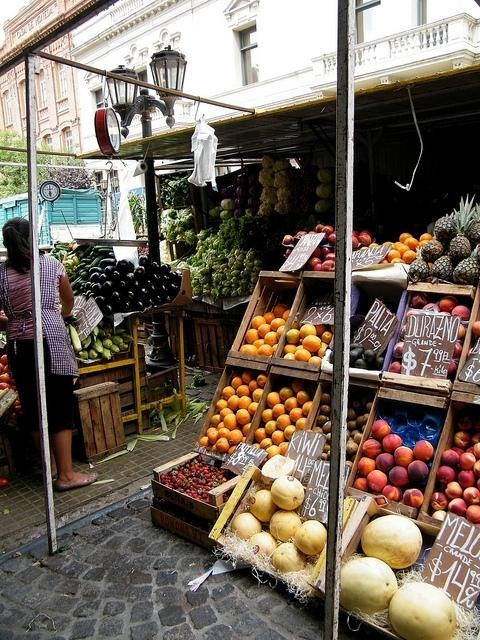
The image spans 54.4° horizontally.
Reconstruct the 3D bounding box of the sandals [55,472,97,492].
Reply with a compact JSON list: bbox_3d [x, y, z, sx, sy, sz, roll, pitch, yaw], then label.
[{"bbox_3d":[-1.386,1.362,3.979,0.312,0.124,0.139,-10,10,-25],"label":"sandals"}]

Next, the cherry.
[{"bbox_3d":[-0.316,1.131,3.361,0.461,0.153,0.758,-3,6,14],"label":"cherry"}]

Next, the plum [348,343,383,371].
[{"bbox_3d":[0.831,0.268,3.161,0.179,0.070,0.179,19,43,28],"label":"plum"}]
